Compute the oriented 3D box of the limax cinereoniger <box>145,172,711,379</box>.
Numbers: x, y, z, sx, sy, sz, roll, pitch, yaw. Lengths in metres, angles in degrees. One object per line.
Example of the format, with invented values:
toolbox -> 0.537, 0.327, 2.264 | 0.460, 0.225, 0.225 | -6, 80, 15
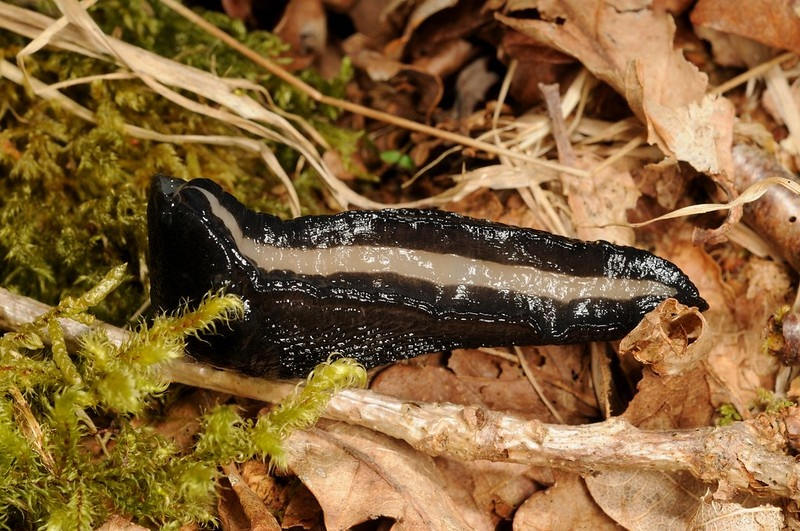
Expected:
limax cinereoniger -> 0.013, 0.106, 3.541 | 1.972, 0.665, 0.410 | 4, 38, -11
